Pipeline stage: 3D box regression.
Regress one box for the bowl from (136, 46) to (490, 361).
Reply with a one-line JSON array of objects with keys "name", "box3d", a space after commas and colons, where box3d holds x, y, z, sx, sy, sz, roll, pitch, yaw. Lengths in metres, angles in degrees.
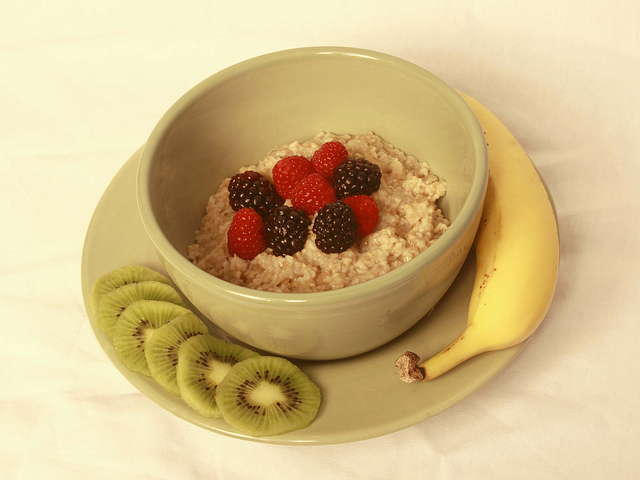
[{"name": "bowl", "box3d": [-0.105, -0.045, 2.919, 1.392, 0.775, 1.468, -15, 42, 15]}]
